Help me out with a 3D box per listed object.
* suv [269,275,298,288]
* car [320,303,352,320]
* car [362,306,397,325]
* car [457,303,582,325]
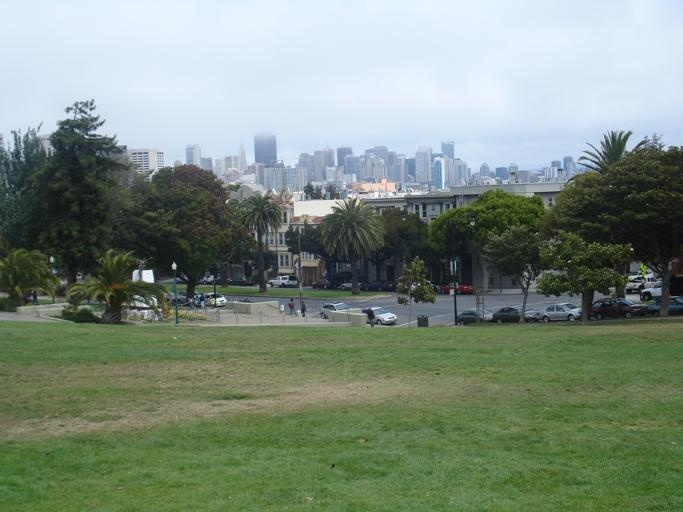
[{"bbox_3d":[-6.508,2.734,129.320,2.678,1.079,1.439,3,3,28],"label":"suv"},{"bbox_3d":[-0.625,3.980,84.257,1.764,0.881,1.064,-5,-2,38],"label":"car"},{"bbox_3d":[2.722,4.162,81.617,1.126,0.789,2.361,-3,0,-32],"label":"car"},{"bbox_3d":[11.821,3.707,76.220,8.190,1.207,3.161,-2,-2,35],"label":"car"}]
